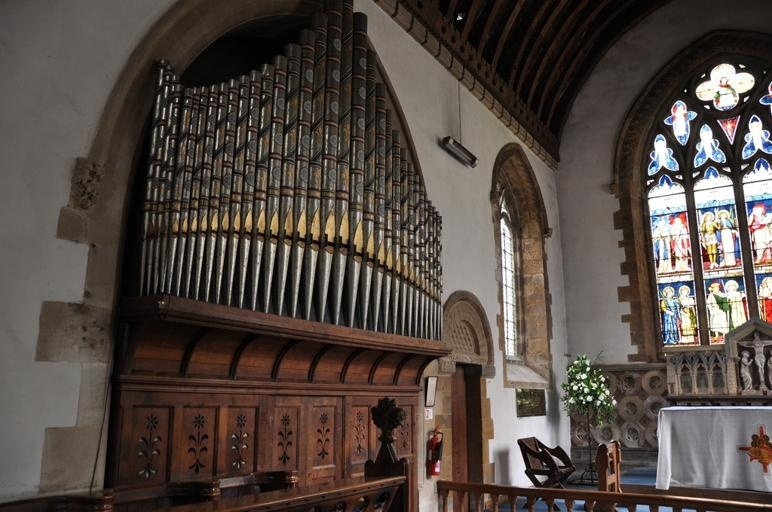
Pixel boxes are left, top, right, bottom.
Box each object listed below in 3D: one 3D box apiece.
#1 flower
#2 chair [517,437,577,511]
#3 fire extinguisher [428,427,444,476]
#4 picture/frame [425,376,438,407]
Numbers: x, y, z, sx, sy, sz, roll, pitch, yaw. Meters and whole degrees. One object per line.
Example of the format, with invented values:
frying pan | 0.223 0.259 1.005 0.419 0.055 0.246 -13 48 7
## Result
flower | 3.761 2.404 11.144 0.841 0.975 0.754 -10 14 -31
chair | 2.643 3.447 9.672 0.933 1.325 0.927 -18 -25 34
fire extinguisher | 0.690 2.687 8.242 0.188 0.628 0.468 -10 -18 20
picture/frame | 0.608 1.853 8.241 0.062 0.469 0.385 -6 -12 30
